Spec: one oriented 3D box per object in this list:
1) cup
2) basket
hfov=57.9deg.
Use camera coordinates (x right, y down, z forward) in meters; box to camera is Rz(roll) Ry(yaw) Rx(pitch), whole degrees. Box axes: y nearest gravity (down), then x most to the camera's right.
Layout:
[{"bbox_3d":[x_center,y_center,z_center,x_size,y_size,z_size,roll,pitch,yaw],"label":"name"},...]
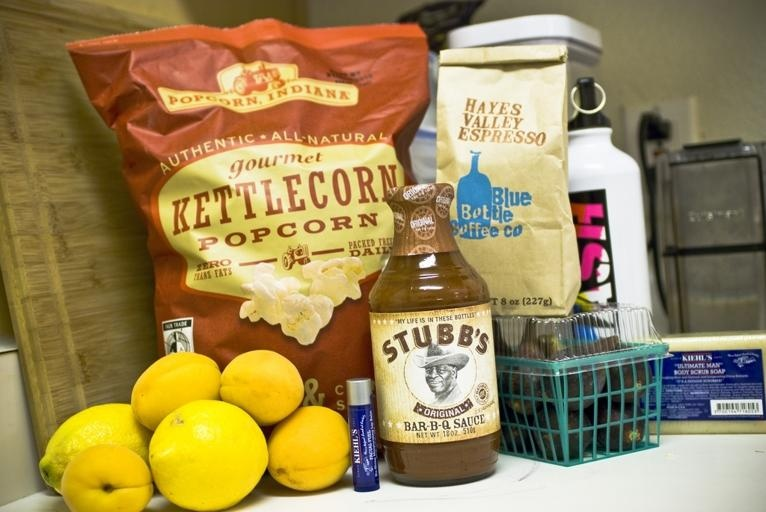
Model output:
[{"bbox_3d":[0.363,-0.086,1.111,0.124,0.345,0.111,-1,12,16],"label":"cup"},{"bbox_3d":[0.297,0.215,1.045,0.205,0.125,0.202,-5,3,-33],"label":"basket"}]
